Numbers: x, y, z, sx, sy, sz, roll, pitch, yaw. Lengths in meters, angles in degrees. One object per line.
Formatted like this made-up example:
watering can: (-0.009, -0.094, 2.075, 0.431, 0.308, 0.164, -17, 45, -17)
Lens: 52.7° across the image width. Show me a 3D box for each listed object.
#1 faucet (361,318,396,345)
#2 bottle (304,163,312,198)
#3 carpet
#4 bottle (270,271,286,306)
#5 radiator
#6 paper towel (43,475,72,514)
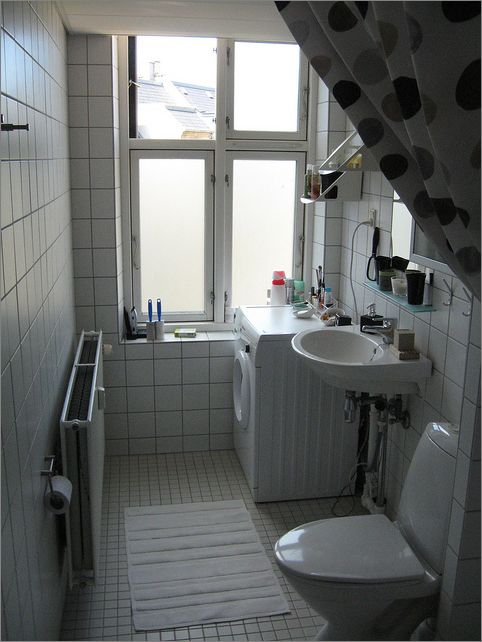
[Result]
faucet: (0.726, 0.030, 2.563, 0.095, 0.137, 0.232, -2, 13, -14)
bottle: (0.418, -0.861, 3.051, 0.041, 0.202, 0.115, -1, 10, -9)
carpet: (-0.226, 1.232, 2.563, 0.743, 0.019, 0.999, -3, 15, -16)
bottle: (0.269, -0.231, 3.522, 0.111, 0.239, 0.086, 2, 9, 6)
radiator: (-0.743, 0.718, 2.374, 0.167, 1.031, 1.018, -2, 12, -16)
paper towel: (-0.627, 0.595, 1.688, 0.092, 0.156, 0.124, -3, 4, -22)
